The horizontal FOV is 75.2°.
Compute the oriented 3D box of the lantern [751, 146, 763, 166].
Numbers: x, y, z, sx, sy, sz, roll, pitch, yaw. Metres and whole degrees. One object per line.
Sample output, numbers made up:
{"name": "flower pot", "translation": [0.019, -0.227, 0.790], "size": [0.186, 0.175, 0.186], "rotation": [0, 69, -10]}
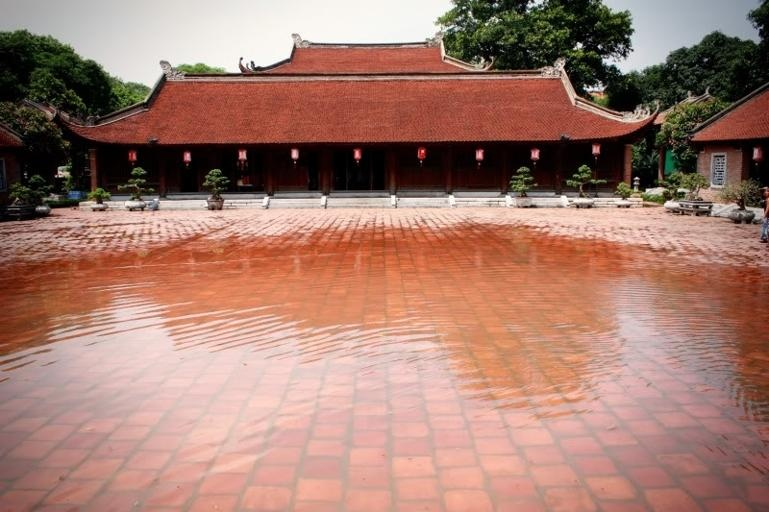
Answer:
{"name": "lantern", "translation": [15.909, -4.371, 21.236], "size": [0.423, 0.820, 1.576], "rotation": [10, 17, 35]}

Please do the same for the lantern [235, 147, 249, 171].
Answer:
{"name": "lantern", "translation": [-7.113, -4.919, 25.067], "size": [0.571, 1.166, 1.713], "rotation": [-6, 15, -15]}
